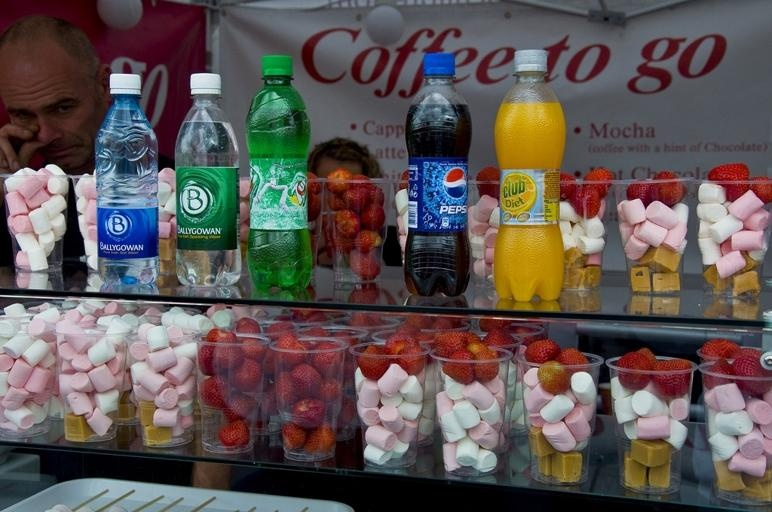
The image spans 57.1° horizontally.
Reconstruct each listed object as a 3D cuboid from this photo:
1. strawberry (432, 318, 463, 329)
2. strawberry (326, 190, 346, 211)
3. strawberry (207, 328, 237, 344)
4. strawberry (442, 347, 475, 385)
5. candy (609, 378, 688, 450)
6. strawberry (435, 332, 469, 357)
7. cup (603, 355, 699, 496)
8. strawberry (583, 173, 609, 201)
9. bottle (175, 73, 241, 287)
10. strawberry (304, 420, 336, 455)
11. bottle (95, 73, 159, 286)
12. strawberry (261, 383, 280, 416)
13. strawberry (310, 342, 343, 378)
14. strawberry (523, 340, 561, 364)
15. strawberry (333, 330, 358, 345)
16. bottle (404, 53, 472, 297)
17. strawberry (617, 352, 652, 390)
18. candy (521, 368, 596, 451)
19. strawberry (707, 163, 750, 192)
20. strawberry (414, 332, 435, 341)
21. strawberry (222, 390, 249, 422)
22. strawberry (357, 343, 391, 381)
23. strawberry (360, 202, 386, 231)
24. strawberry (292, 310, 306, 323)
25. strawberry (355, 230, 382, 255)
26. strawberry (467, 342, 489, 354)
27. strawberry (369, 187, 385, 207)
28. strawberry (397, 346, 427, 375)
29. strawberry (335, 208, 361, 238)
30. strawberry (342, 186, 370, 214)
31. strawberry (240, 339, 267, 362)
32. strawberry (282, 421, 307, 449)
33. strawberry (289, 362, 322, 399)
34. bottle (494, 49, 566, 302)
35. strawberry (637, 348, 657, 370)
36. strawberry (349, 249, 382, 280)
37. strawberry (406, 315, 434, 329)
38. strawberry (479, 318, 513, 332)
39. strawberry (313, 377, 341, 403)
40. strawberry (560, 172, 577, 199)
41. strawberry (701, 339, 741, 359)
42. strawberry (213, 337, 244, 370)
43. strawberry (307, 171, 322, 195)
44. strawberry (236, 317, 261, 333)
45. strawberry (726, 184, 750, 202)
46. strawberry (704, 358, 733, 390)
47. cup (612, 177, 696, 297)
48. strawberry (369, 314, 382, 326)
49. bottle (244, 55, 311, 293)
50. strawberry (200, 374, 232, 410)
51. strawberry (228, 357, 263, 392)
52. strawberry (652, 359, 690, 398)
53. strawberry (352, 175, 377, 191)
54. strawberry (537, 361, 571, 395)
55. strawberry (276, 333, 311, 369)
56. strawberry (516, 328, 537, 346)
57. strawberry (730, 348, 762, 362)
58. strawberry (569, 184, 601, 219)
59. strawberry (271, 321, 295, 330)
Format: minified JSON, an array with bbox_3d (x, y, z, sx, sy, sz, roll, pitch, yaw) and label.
[{"bbox_3d":[0.160,0.171,1.811,0.044,0.023,0.040,0,1,-23],"label":"strawberry"},{"bbox_3d":[-0.130,-0.144,1.850,0.047,0.045,0.025,-14,-10,16],"label":"strawberry"},{"bbox_3d":[-0.402,0.195,1.735,0.049,0.018,0.037,7,-2,-36],"label":"strawberry"},{"bbox_3d":[0.172,0.257,1.642,0.079,0.063,0.059,-8,-24,29],"label":"strawberry"},{"bbox_3d":[0.612,0.356,1.695,0.169,0.123,0.160,1,3,37],"label":"candy"},{"bbox_3d":[0.159,0.210,1.697,0.067,0.040,0.051,-13,30,8],"label":"strawberry"},{"bbox_3d":[0.605,0.393,1.796,0.292,0.391,0.284,0,-1,0],"label":"cup"},{"bbox_3d":[0.521,-0.173,1.763,0.075,0.061,0.057,-2,0,12],"label":"strawberry"},{"bbox_3d":[-0.444,-0.190,1.781,0.162,0.527,0.190,-1,3,-16],"label":"bottle"},{"bbox_3d":[-0.157,0.440,1.721,0.066,0.055,0.076,2,-6,-36],"label":"strawberry"},{"bbox_3d":[-0.633,-0.183,1.752,0.150,0.520,0.175,-1,3,-22],"label":"bottle"},{"bbox_3d":[-0.289,0.358,1.774,0.073,0.074,0.071,0,-3,-1],"label":"strawberry"},{"bbox_3d":[-0.138,0.243,1.672,0.082,0.058,0.080,-1,6,-15],"label":"strawberry"},{"bbox_3d":[0.368,0.228,1.684,0.068,0.049,0.037,-3,27,2],"label":"strawberry"},{"bbox_3d":[-0.100,0.203,1.794,0.042,0.028,0.041,2,-1,-45],"label":"strawberry"},{"bbox_3d":[0.121,-0.204,1.712,0.161,0.595,0.196,0,3,6],"label":"bottle"},{"bbox_3d":[0.566,0.260,1.622,0.084,0.080,0.079,6,-8,-40],"label":"strawberry"},{"bbox_3d":[0.409,0.354,1.723,0.183,0.178,0.189,-1,0,-13],"label":"candy"},{"bbox_3d":[0.813,-0.184,1.702,0.096,0.056,0.073,0,-7,32],"label":"strawberry"},{"bbox_3d":[0.098,0.201,1.775,0.024,0.017,0.029,1,3,-11],"label":"strawberry"},{"bbox_3d":[-0.370,0.371,1.746,0.066,0.043,0.056,0,0,-1],"label":"strawberry"},{"bbox_3d":[-0.030,0.251,1.683,0.079,0.055,0.080,1,7,4],"label":"strawberry"},{"bbox_3d":[-0.033,-0.100,1.845,0.064,0.073,0.063,4,0,21],"label":"strawberry"},{"bbox_3d":[-0.221,0.152,1.817,0.047,0.027,0.046,0,5,-9],"label":"strawberry"},{"bbox_3d":[-0.043,-0.038,1.837,0.068,0.048,0.049,-2,1,0],"label":"strawberry"},{"bbox_3d":[0.214,0.215,1.664,0.032,0.017,0.025,2,6,26],"label":"strawberry"},{"bbox_3d":[-0.023,-0.156,1.850,0.044,0.049,0.045,0,6,-5],"label":"strawberry"},{"bbox_3d":[0.064,0.248,1.687,0.072,0.050,0.070,2,11,4],"label":"strawberry"},{"bbox_3d":[-0.100,-0.083,1.792,0.071,0.067,0.034,6,-5,5],"label":"strawberry"},{"bbox_3d":[-0.080,-0.151,1.848,0.059,0.072,0.042,19,1,-15],"label":"strawberry"},{"bbox_3d":[-0.321,0.231,1.739,0.057,0.041,0.058,1,-1,0],"label":"strawberry"},{"bbox_3d":[-0.220,0.433,1.719,0.063,0.042,0.055,1,-2,0],"label":"strawberry"},{"bbox_3d":[-0.191,0.305,1.718,0.069,0.086,0.067,1,16,3],"label":"strawberry"},{"bbox_3d":[0.335,-0.185,1.652,0.158,0.576,0.164,0,3,0],"label":"bottle"},{"bbox_3d":[0.608,0.240,1.657,0.032,0.042,0.014,25,-42,-33],"label":"strawberry"},{"bbox_3d":[-0.052,0.021,1.885,0.078,0.087,0.076,1,7,1],"label":"strawberry"},{"bbox_3d":[0.093,0.161,1.798,0.056,0.026,0.054,1,-1,1],"label":"strawberry"},{"bbox_3d":[0.277,0.167,1.779,0.058,0.030,0.043,0,-1,0],"label":"strawberry"},{"bbox_3d":[-0.142,0.327,1.729,0.060,0.038,0.050,1,-1,7],"label":"strawberry"},{"bbox_3d":[0.460,-0.180,1.770,0.060,0.066,0.059,3,2,23],"label":"strawberry"},{"bbox_3d":[0.800,0.213,1.692,0.062,0.030,0.055,1,5,16],"label":"strawberry"},{"bbox_3d":[-0.389,0.246,1.769,0.071,0.067,0.064,-1,-2,34],"label":"strawberry"},{"bbox_3d":[-0.190,-0.198,1.894,0.036,0.059,0.048,-12,24,-2],"label":"strawberry"},{"bbox_3d":[-0.347,0.174,1.790,0.043,0.021,0.042,17,11,4],"label":"strawberry"},{"bbox_3d":[0.815,-0.152,1.660,0.047,0.028,0.037,-20,-22,34],"label":"strawberry"},{"bbox_3d":[0.749,0.267,1.611,0.068,0.058,0.064,-2,3,25],"label":"strawberry"},{"bbox_3d":[0.636,-0.054,1.694,0.165,0.287,0.071,1,3,16],"label":"cup"},{"bbox_3d":[-0.025,0.164,1.830,0.040,0.029,0.036,-1,1,12],"label":"strawberry"},{"bbox_3d":[-0.264,-0.199,1.739,0.163,0.572,0.213,-1,3,-7],"label":"bottle"},{"bbox_3d":[-0.420,0.336,1.746,0.079,0.079,0.077,-2,-7,10],"label":"strawberry"},{"bbox_3d":[-0.339,0.294,1.794,0.080,0.091,0.083,0,2,23],"label":"strawberry"},{"bbox_3d":[0.648,0.278,1.613,0.091,0.060,0.088,0,-1,-3],"label":"strawberry"},{"bbox_3d":[-0.055,-0.194,1.856,0.049,0.027,0.041,12,6,37],"label":"strawberry"},{"bbox_3d":[0.379,0.277,1.649,0.075,0.061,0.042,-36,-1,7],"label":"strawberry"},{"bbox_3d":[-0.221,0.229,1.716,0.081,0.069,0.078,0,-1,1],"label":"strawberry"},{"bbox_3d":[0.357,0.206,1.808,0.044,0.031,0.045,0,-2,-18],"label":"strawberry"},{"bbox_3d":[0.845,0.230,1.644,0.033,0.016,0.041,-1,2,-24],"label":"strawberry"},{"bbox_3d":[0.487,-0.135,1.776,0.082,0.079,0.074,-2,3,5],"label":"strawberry"},{"bbox_3d":[-0.262,0.179,1.809,0.034,0.019,0.028,0,-2,-34],"label":"strawberry"}]
